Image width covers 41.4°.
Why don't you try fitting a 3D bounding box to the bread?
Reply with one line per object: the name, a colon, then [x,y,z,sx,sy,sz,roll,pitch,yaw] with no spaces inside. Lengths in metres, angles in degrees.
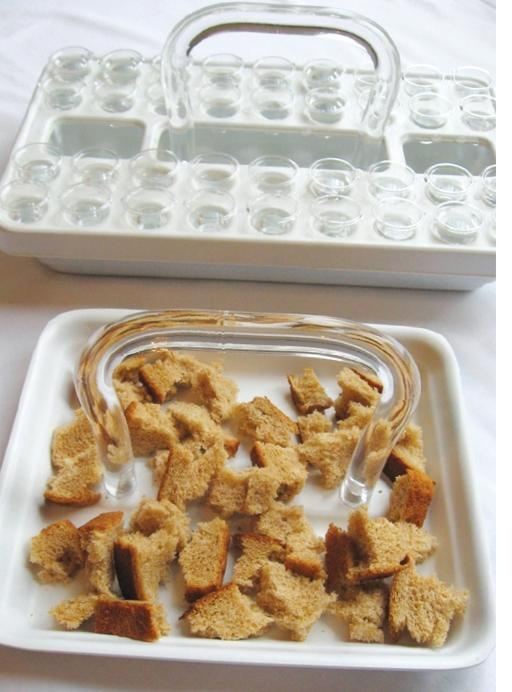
bread: [-0.011,0.101,0.529,0.309,0.178,0.208,3,4,-6]
